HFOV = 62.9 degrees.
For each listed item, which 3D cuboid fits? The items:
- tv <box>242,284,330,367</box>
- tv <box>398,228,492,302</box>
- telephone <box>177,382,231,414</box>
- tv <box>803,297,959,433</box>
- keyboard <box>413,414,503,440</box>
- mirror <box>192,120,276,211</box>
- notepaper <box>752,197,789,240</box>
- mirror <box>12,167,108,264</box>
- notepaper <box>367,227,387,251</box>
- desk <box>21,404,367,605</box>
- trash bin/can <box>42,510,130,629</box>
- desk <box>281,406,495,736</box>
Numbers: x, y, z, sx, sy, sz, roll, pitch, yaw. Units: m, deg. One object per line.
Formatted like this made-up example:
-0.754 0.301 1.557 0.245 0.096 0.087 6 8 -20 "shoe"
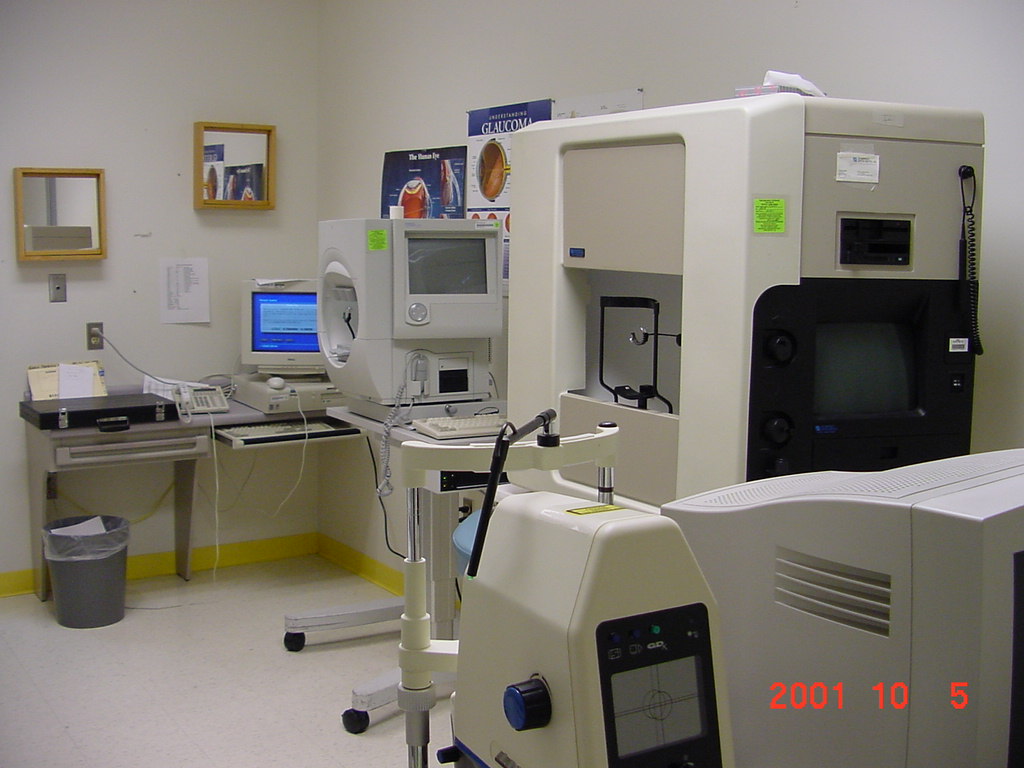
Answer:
-1.120 -0.301 4.122 0.427 0.451 0.266 -2 17 -20 "tv"
-0.289 -0.420 3.157 0.456 0.344 0.258 -5 5 -32 "tv"
-1.345 0.059 3.624 0.165 0.053 0.132 3 52 -34 "telephone"
0.820 -0.044 1.948 0.317 0.346 0.247 0 1 -5 "tv"
-0.184 0.138 2.901 0.323 0.038 0.340 1 9 -8 "keyboard"
-1.397 -1.084 4.124 0.408 0.531 0.064 -3 7 -33 "mirror"
0.528 -0.344 1.716 0.072 0.077 0.013 0 7 -11 "notepaper"
-2.072 -0.770 3.782 0.391 0.481 0.032 -5 7 -37 "mirror"
-0.473 -0.502 2.911 0.076 0.080 0.013 0 7 -11 "notepaper"
-1.419 0.526 3.774 1.271 0.848 0.711 -1 4 -32 "desk"
-1.810 0.788 3.698 0.377 0.503 0.410 -1 0 -34 "trash bin/can"
-0.456 0.623 3.133 0.656 1.082 1.093 -2 9 -25 "desk"
